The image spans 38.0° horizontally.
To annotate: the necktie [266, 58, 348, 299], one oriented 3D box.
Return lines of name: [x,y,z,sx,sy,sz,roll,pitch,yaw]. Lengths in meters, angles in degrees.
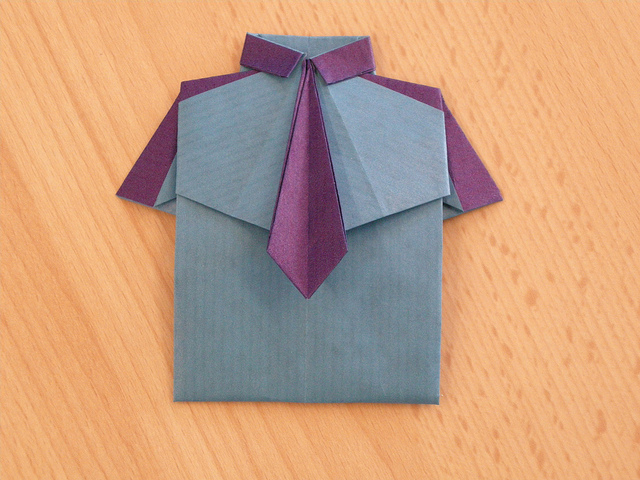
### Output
necktie: [-0.016,-0.092,1.411,0.130,0.015,0.353,1,-89,23]
